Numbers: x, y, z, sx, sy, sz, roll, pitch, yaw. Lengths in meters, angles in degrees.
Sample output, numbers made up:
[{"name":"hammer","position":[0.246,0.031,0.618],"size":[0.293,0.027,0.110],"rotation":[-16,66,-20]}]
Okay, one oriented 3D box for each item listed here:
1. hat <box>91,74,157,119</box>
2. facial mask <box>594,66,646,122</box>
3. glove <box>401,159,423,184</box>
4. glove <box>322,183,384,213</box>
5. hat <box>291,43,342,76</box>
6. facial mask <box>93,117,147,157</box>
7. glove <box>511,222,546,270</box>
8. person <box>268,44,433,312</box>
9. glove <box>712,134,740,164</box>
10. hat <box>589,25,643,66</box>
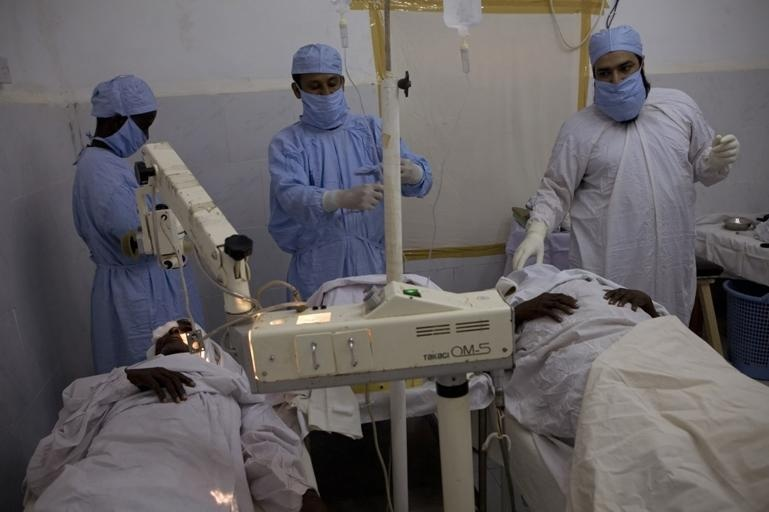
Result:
[{"name":"hat","position":[-1.460,-0.892,3.600],"size":[0.215,0.203,0.304],"rotation":[8,12,31]},{"name":"facial mask","position":[1.309,-0.862,3.573],"size":[0.227,0.172,0.294],"rotation":[-12,42,31]},{"name":"glove","position":[0.129,-0.415,3.142],"size":[0.069,0.134,0.186],"rotation":[1,15,19]},{"name":"glove","position":[-0.153,-0.281,3.103],"size":[0.329,0.142,0.098],"rotation":[6,17,37]},{"name":"hat","position":[-0.358,-1.044,3.420],"size":[0.182,0.129,0.193],"rotation":[7,23,19]},{"name":"facial mask","position":[-1.462,-0.652,3.528],"size":[0.233,0.154,0.184],"rotation":[-14,29,-20]},{"name":"glove","position":[0.803,-0.044,3.536],"size":[0.165,0.252,0.399],"rotation":[0,15,19]},{"name":"person","position":[-0.215,-0.443,3.444],"size":[0.897,1.357,0.675],"rotation":[6,18,36]},{"name":"glove","position":[1.834,-0.567,3.456],"size":[0.130,0.167,0.119],"rotation":[1,15,22]},{"name":"hat","position":[1.311,-1.173,3.637],"size":[0.215,0.163,0.232],"rotation":[-1,41,24]}]
